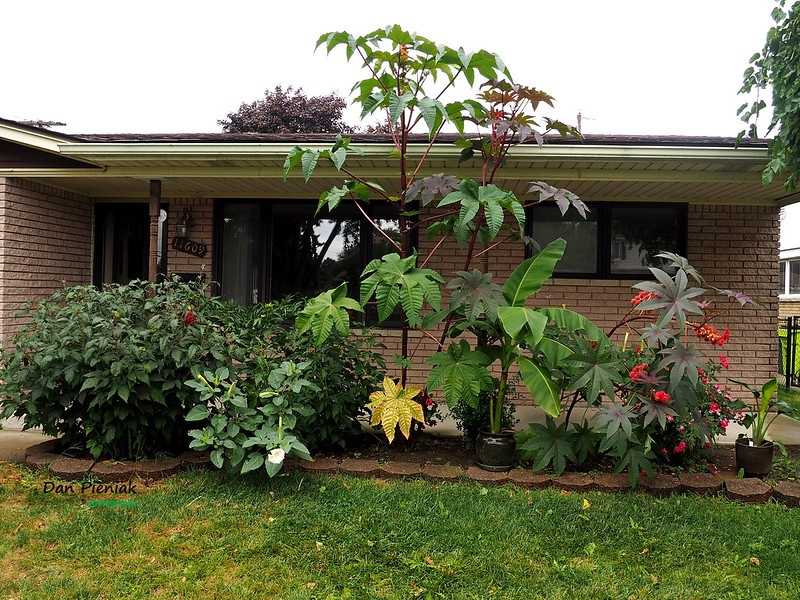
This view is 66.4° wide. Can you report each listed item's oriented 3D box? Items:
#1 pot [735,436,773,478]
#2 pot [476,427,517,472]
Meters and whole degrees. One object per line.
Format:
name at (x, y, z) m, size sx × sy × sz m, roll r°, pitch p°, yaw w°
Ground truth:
pot at (3.668, 1.605, 6.346) m, size 0.379 × 0.418 × 0.374 m, roll 3°, pitch -10°, yaw 0°
pot at (1.001, 1.544, 6.355) m, size 0.369 × 0.332 × 0.378 m, roll 1°, pitch -7°, yaw 0°
